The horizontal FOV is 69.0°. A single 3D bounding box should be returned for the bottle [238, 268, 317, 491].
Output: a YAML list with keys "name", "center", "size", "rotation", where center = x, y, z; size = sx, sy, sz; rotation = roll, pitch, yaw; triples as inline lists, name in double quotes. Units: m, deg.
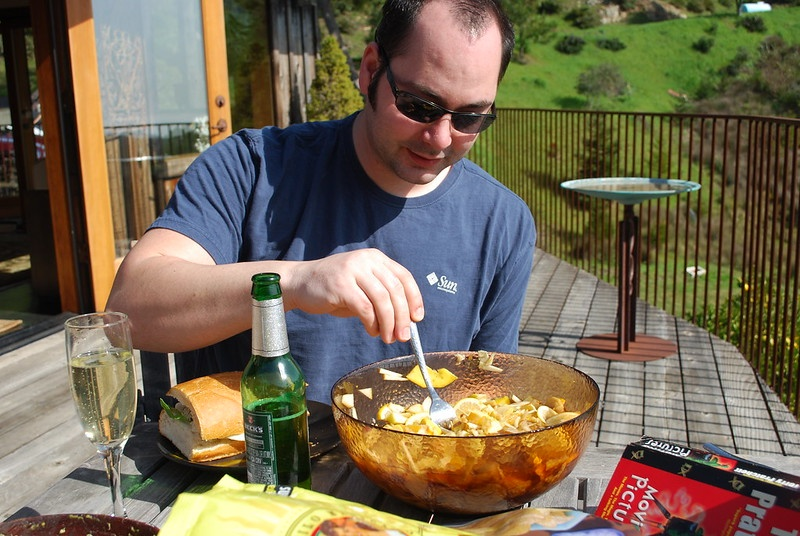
- name: "bottle"
  center: [-0.234, 0.231, 1.097]
  size: [0.122, 0.453, 0.131]
  rotation: [1, 16, 0]

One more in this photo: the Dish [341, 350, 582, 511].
- name: "Dish"
  center: [0.161, 0.332, 1.160]
  size: [0.358, 0.161, 0.360]
  rotation: [-3, 5, -37]

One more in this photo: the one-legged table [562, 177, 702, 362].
- name: "one-legged table"
  center: [1.746, -0.001, 4.437]
  size: [1.046, 1.284, 1.059]
  rotation: [-2, 10, 12]

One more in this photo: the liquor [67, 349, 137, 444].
- name: "liquor"
  center: [-0.608, 0.265, 1.206]
  size: [0.121, 0.182, 0.101]
  rotation: [-8, 18, -27]

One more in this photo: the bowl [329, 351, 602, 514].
- name: "bowl"
  center: [0.166, 0.328, 1.158]
  size: [0.383, 0.171, 0.384]
  rotation: [0, 5, 0]

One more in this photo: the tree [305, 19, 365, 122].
- name: "tree"
  center: [-0.889, -2.899, 8.329]
  size: [0.784, 1.336, 0.886]
  rotation: [0, 60, 1]

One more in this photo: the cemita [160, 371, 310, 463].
- name: "cemita"
  center: [-0.442, 0.333, 1.377]
  size: [0.210, 0.120, 0.181]
  rotation: [-12, 25, -42]
